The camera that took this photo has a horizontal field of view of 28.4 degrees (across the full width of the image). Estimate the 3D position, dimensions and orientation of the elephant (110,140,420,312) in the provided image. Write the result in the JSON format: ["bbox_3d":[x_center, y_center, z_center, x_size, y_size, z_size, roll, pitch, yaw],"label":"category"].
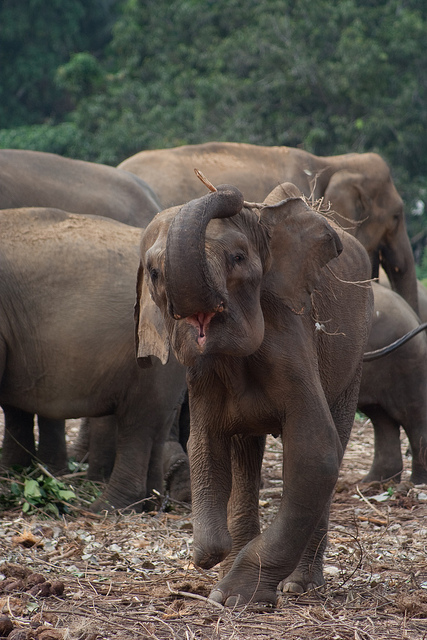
[{"bbox_3d":[0.815,-0.717,5.649,2.646,1.264,0.964,-2,10,-23],"label":"elephant"}]
